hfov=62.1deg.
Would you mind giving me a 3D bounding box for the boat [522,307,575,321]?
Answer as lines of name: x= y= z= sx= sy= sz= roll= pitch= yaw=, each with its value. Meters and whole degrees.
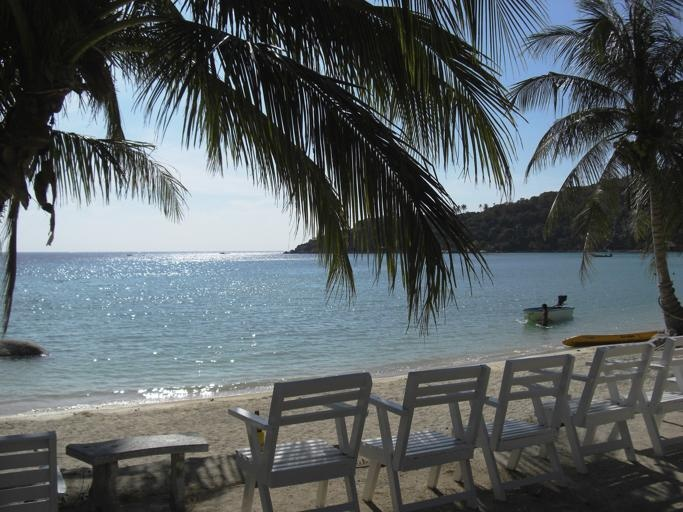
boat: x=9.942 y=2.778 z=27.109 sx=2.816 sy=0.811 sz=0.996 roll=10 pitch=-10 yaw=-40
